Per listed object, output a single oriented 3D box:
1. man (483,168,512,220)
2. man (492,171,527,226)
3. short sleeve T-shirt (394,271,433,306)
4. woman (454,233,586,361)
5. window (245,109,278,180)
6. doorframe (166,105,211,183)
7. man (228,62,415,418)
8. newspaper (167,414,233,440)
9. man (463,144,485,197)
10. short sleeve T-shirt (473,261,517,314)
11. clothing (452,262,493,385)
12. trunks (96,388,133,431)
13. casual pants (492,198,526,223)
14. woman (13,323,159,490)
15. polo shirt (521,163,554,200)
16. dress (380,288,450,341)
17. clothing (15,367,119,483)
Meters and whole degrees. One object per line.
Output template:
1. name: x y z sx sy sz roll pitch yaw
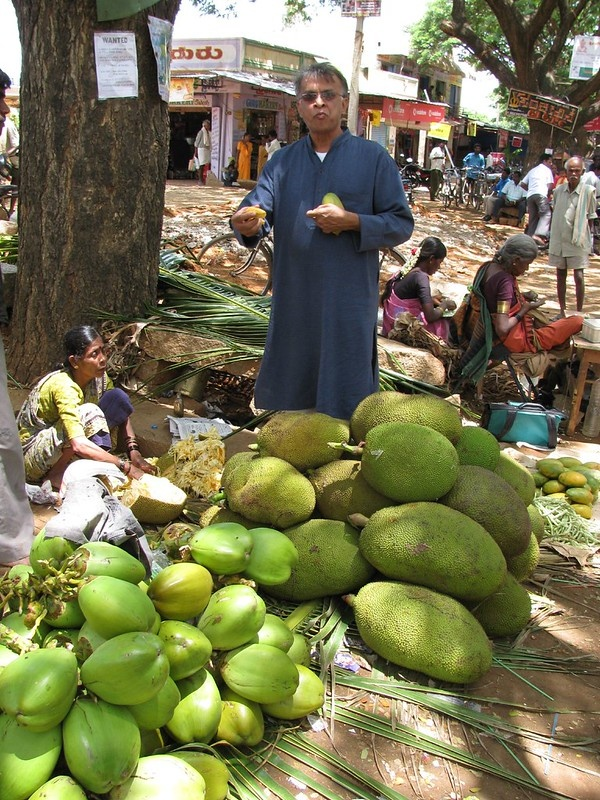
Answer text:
1. man: 6.233 -6.483 18.979 0.599 1.627 0.625 12 33 -12
2. man: 6.561 -6.303 18.564 0.984 1.508 0.911 14 28 20
3. short sleeve T-shirt: 1.049 -1.032 5.589 0.367 0.357 0.207 10 3 40
4. woman: 1.939 -0.929 5.271 1.099 1.012 0.879 -2 28 1
5. window: -1.391 -9.502 21.902 1.415 1.997 1.437 3 17 12
6. doorframe: -4.427 -10.571 23.252 1.666 1.425 0.875 -20 41 -30
7. man: 0.095 -0.692 2.845 0.722 1.605 0.440 9 13 22
8. newspaper: -0.644 0.172 3.778 0.241 0.069 0.224 1 10 -24
9. man: 6.521 -8.690 22.611 0.715 1.749 0.602 3 26 4
10. short sleeve T-shirt: 1.642 -0.938 5.022 0.265 0.431 0.424 -18 12 3
11. clothing: 1.549 -0.712 5.372 0.368 1.097 0.443 -21 35 -15
12. trunks: -1.060 0.065 3.496 0.188 0.226 0.116 25 -2 11
13. casual pants: 6.529 -6.012 18.638 0.783 0.919 0.872 1 0 33
14. woman: -1.199 0.042 3.294 0.850 0.852 0.646 9 25 13
15. polo shirt: 4.455 -3.974 11.214 0.665 0.370 0.952 8 42 11
16. dress: 1.163 -0.794 5.721 0.746 0.457 0.454 9 -2 17
17. clothing: -1.179 0.112 3.255 0.613 0.698 0.565 -1 28 -21
